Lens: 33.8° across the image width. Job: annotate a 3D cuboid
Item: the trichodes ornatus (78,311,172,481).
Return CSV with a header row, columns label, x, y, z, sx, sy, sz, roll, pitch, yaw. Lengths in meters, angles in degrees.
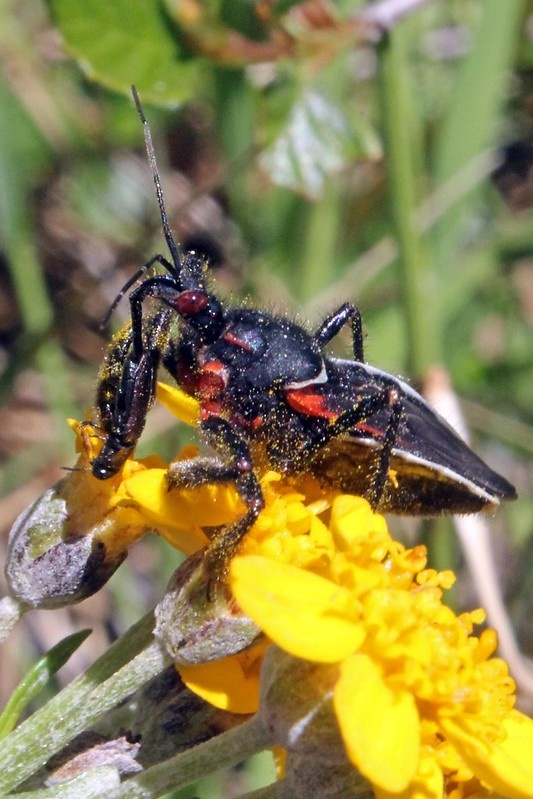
label,x,y,z,sx,sy,sz,roll,pitch,yaw
trichodes ornatus,-0.352,0.010,2.022,0.156,0.441,0.129,5,72,1
